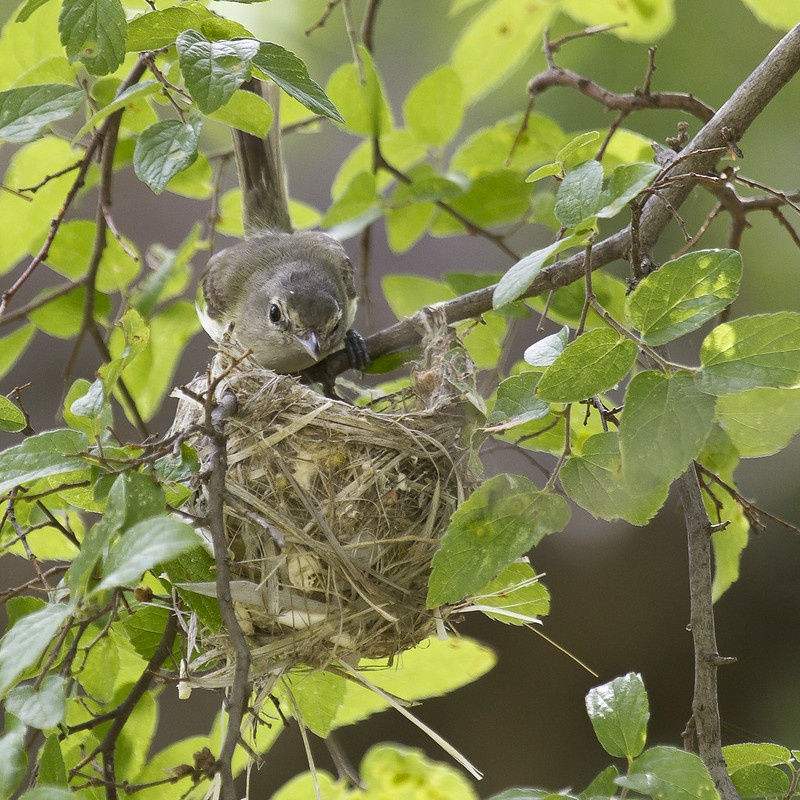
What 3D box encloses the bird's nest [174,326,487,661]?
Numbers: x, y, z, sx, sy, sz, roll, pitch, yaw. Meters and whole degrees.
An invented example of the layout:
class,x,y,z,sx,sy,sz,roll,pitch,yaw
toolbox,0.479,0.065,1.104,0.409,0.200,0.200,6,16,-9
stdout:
class,x,y,z,sx,sy,sz,roll,pitch,yaw
bird's nest,-0.036,0.156,2.679,0.700,0.588,0.710,-3,18,9
